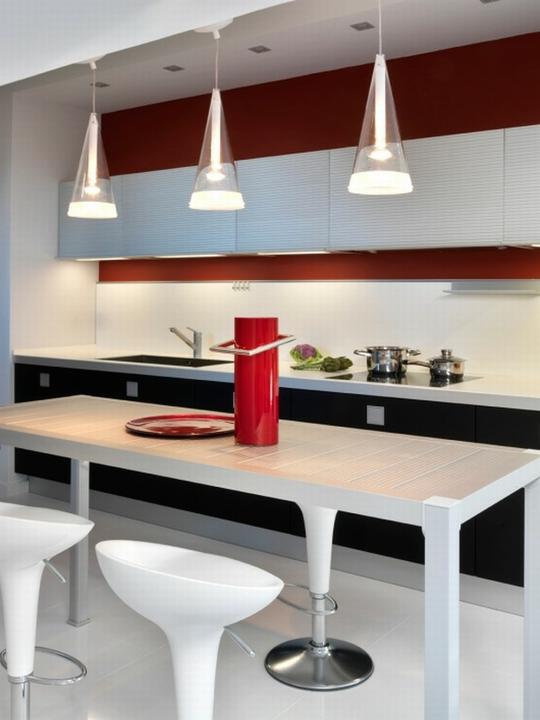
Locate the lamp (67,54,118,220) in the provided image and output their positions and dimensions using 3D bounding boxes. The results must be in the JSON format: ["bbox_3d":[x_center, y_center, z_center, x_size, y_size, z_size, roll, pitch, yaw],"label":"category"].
[{"bbox_3d":[-0.674,-0.880,2.328,0.126,0.418,0.122,-7,24,-29],"label":"lamp"}]

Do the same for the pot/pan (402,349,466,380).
[{"bbox_3d":[0.823,0.016,3.071,0.317,0.120,0.138,-3,3,-29],"label":"pot/pan"}]
